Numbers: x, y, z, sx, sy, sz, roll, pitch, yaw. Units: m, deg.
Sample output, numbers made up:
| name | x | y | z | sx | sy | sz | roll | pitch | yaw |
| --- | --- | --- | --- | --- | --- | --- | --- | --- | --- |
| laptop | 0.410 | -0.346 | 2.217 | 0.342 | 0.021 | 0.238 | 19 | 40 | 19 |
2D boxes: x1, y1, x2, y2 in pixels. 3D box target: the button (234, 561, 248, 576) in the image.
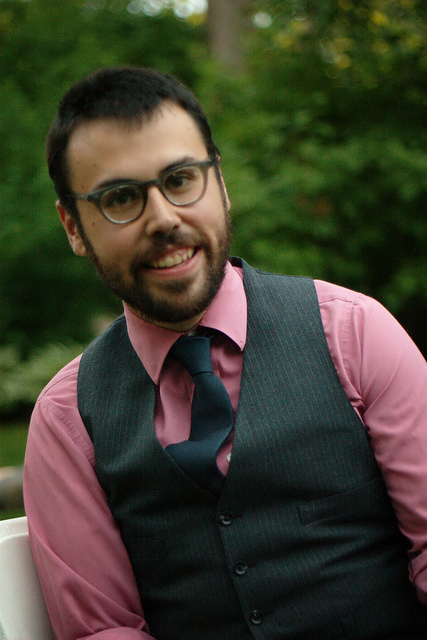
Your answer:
| name | x | y | z | sx | sy | sz | roll | pitch | yaw |
| --- | --- | --- | --- | --- | --- | --- | --- | --- | --- |
| button | 0.060 | 0.554 | 1.622 | 0.035 | 0.007 | 0.029 | -3 | 83 | 0 |

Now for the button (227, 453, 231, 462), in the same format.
| name | x | y | z | sx | sy | sz | roll | pitch | yaw |
| --- | --- | --- | --- | --- | --- | --- | --- | --- | --- |
| button | 0.035 | 0.312 | 1.651 | 0.009 | 0.014 | 0.013 | 0 | 72 | 12 |

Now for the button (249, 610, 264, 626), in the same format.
| name | x | y | z | sx | sy | sz | roll | pitch | yaw |
| --- | --- | --- | --- | --- | --- | --- | --- | --- | --- |
| button | 0.095 | 0.660 | 1.614 | 0.035 | 0.010 | 0.029 | -7 | 83 | -1 |

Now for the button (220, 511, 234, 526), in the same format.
| name | x | y | z | sx | sy | sz | roll | pitch | yaw |
| --- | --- | --- | --- | --- | --- | --- | --- | --- | --- |
| button | 0.031 | 0.445 | 1.636 | 0.031 | 0.021 | 0.023 | 0 | 41 | 8 |
